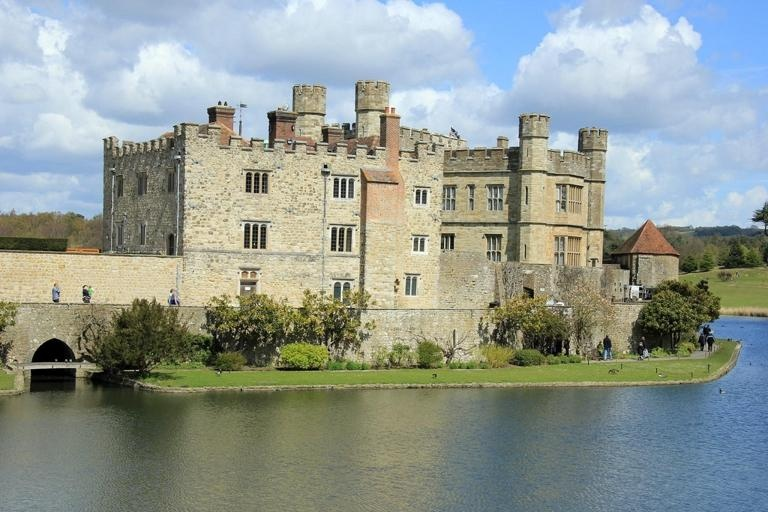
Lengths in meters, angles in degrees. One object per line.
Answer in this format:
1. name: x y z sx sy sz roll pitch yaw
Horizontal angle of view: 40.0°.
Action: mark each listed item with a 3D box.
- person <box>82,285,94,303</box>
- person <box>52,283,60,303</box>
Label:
1. person: -22.769 2.969 81.174 0.779 1.389 1.826 1 13 -10
2. person: -24.831 2.895 80.123 0.617 1.254 1.918 -1 14 -17
